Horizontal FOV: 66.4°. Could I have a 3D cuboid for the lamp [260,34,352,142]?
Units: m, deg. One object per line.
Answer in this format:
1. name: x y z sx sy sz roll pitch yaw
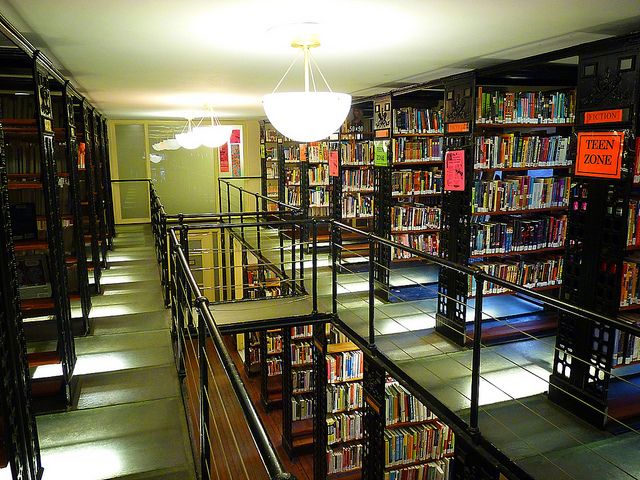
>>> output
1. lamp: -0.088 -1.066 3.465 0.698 0.685 0.716 -2 -77 -7
